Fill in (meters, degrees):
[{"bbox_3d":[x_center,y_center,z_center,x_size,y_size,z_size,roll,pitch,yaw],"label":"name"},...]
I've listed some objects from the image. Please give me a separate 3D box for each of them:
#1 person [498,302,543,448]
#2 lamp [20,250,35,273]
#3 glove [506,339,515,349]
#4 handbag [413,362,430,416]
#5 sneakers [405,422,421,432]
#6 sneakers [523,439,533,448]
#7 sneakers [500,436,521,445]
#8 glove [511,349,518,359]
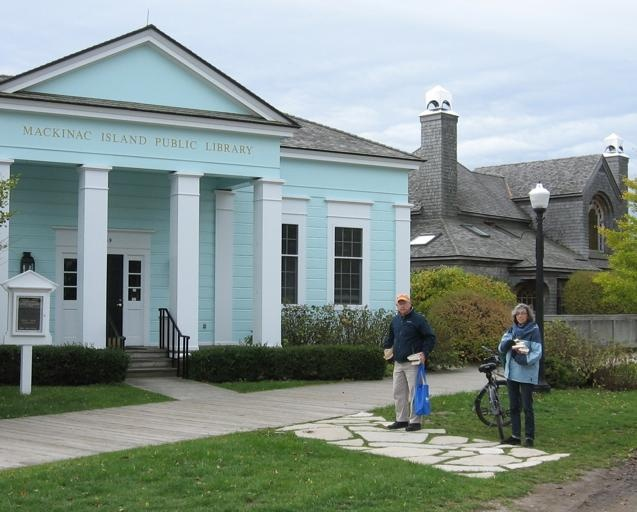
[{"bbox_3d":[2.942,1.736,12.124,0.616,2.040,0.567,-4,-6,17],"label":"person"},{"bbox_3d":[-6.738,0.131,19.374,0.364,0.490,0.325,2,-7,-31],"label":"lamp"},{"bbox_3d":[2.780,1.288,12.067,0.090,0.125,0.030,6,33,4],"label":"glove"},{"bbox_3d":[1.593,2.134,13.086,0.253,0.838,0.689,-3,-6,6],"label":"handbag"},{"bbox_3d":[1.458,2.664,12.857,0.252,0.168,0.088,4,-4,-6],"label":"sneakers"},{"bbox_3d":[3.039,2.707,12.045,0.129,0.115,0.187,-4,-7,14],"label":"sneakers"},{"bbox_3d":[2.797,2.708,12.165,0.287,0.121,0.110,2,-6,1],"label":"sneakers"},{"bbox_3d":[2.823,1.428,11.985,0.016,0.143,0.115,0,-7,-22],"label":"glove"}]
